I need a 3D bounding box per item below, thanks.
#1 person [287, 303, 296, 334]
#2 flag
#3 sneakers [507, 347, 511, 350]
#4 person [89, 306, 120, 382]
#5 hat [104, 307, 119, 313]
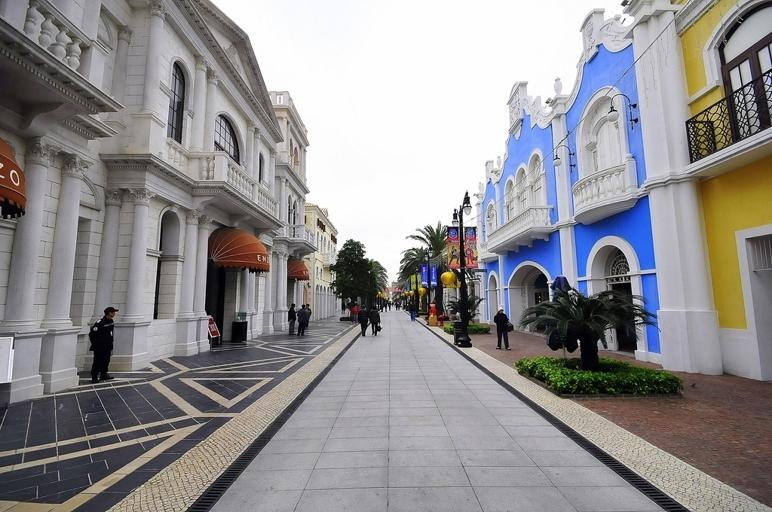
[{"bbox_3d":[-5.222,3.680,26.850,0.420,1.326,1.351,-2,11,-6],"label":"person"},{"bbox_3d":[3.239,-0.559,31.197,5.335,4.852,5.286,-1,-16,11],"label":"flag"},{"bbox_3d":[5.211,3.927,20.255,0.098,0.124,0.306,-3,-25,2],"label":"sneakers"},{"bbox_3d":[-8.851,2.771,14.883,0.588,2.153,0.945,7,13,33],"label":"person"},{"bbox_3d":[-8.661,1.710,15.186,0.287,0.239,0.462,3,0,42],"label":"hat"}]
